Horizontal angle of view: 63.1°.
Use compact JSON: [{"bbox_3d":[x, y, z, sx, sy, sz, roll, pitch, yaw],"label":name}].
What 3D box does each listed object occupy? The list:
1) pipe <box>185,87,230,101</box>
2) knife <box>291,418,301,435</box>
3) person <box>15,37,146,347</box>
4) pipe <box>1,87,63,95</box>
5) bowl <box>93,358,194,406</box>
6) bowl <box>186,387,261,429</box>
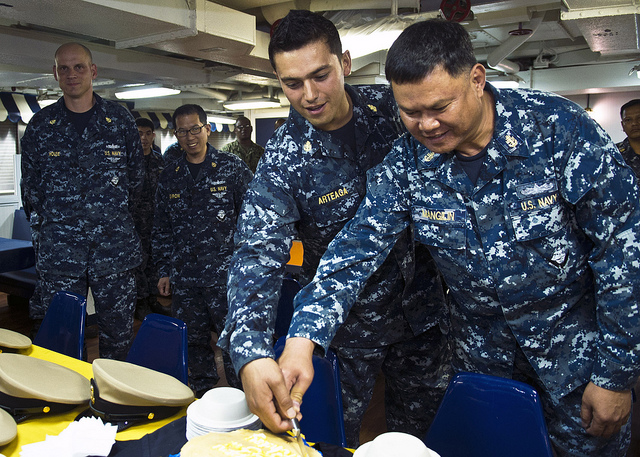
[{"bbox_3d":[-1.981,-2.490,9.681,0.230,0.178,1.284,-18,19,-29],"label":"pipe"},{"bbox_3d":[-0.073,0.645,1.705,0.024,0.056,0.012,-18,-27,-22],"label":"knife"},{"bbox_3d":[-1.751,-0.222,3.935,0.852,2.256,0.357,-2,3,-26],"label":"person"},{"bbox_3d":[-4.909,-2.312,8.758,0.191,0.014,0.542,-25,-11,42],"label":"pipe"},{"bbox_3d":[-0.708,0.630,2.139,0.361,0.103,0.276,7,-4,-6],"label":"bowl"},{"bbox_3d":[-0.336,0.611,1.829,0.254,0.133,0.152,0,2,13],"label":"bowl"}]
